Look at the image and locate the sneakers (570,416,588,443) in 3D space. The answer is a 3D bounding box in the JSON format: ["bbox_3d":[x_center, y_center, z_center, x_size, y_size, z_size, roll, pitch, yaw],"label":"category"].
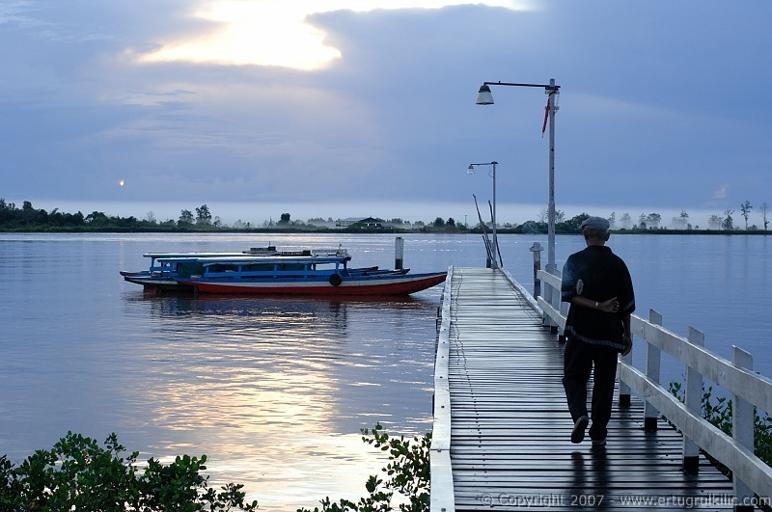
[{"bbox_3d":[3.821,3.422,21.393,0.278,0.580,0.260,15,2,-1],"label":"sneakers"}]

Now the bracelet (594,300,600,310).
[{"bbox_3d":[4.163,0.953,21.297,0.086,0.108,0.121,-2,5,7],"label":"bracelet"}]
